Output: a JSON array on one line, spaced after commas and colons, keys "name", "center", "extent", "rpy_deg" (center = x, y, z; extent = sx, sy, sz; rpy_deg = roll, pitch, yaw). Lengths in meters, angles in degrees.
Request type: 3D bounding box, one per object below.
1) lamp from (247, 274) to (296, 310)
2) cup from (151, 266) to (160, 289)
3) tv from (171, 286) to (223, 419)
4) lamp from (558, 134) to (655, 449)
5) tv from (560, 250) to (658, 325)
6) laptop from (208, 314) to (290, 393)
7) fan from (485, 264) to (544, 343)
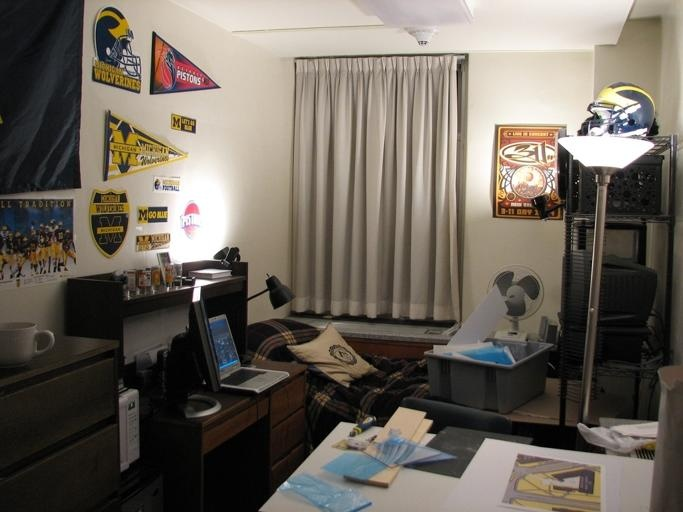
[{"name": "lamp", "center": [-0.412, 0.240, 3.118], "extent": [0.160, 0.241, 0.265], "rpy_deg": [-3, 7, -24]}, {"name": "cup", "center": [-1.021, 0.123, 2.721], "extent": [0.033, 0.112, 0.061], "rpy_deg": [1, 6, 10]}, {"name": "tv", "center": [-0.710, 0.481, 2.444], "extent": [0.207, 0.551, 0.323], "rpy_deg": [-2, 6, -19]}, {"name": "lamp", "center": [1.049, 0.154, 2.055], "extent": [0.326, 1.242, 0.346], "rpy_deg": [2, 3, -16]}, {"name": "tv", "center": [1.405, 0.162, 2.648], "extent": [0.377, 0.412, 0.409], "rpy_deg": [0, 1, 13]}, {"name": "laptop", "center": [-0.514, 0.542, 2.751], "extent": [0.387, 0.302, 0.390], "rpy_deg": [5, 0, 13]}, {"name": "fan", "center": [1.424, 0.371, 4.005], "extent": [0.395, 0.557, 0.490], "rpy_deg": [2, 7, 23]}]
